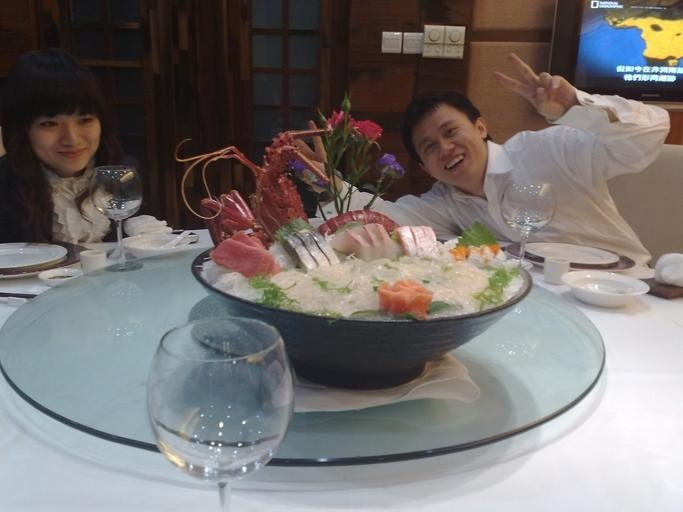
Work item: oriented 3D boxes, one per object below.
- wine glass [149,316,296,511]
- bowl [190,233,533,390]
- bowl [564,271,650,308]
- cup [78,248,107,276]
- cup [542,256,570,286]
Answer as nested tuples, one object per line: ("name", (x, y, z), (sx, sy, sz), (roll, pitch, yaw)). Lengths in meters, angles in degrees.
("wine glass", (-0.121, 0.165, 0.522), (0.135, 0.167, 0.127), (7, 23, 17))
("bowl", (0.016, 0.066, 0.710), (0.262, 0.081, 0.261), (2, 7, 0))
("bowl", (0.644, 0.077, 1.196), (0.116, 0.031, 0.117), (-1, 22, 0))
("cup", (-0.669, 0.016, 1.303), (0.083, 0.057, 0.060), (1, 10, -6))
("cup", (0.567, 0.039, 1.282), (0.069, 0.068, 0.070), (2, 5, 0))
